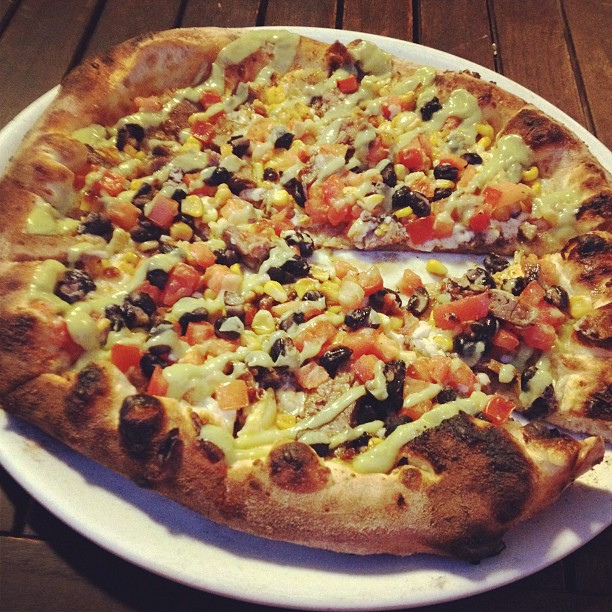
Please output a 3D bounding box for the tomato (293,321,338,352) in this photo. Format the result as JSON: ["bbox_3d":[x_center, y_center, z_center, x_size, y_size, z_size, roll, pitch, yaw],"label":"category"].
[{"bbox_3d":[0.054,0.186,4.722,0.319,0.101,0.132,-28,72,-11],"label":"tomato"}]

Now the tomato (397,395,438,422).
[{"bbox_3d":[0.710,0.638,4.513,0.309,0.089,0.103,-20,72,-8],"label":"tomato"}]

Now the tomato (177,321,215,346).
[{"bbox_3d":[-0.707,0.169,4.712,0.177,0.063,0.197,28,71,11],"label":"tomato"}]

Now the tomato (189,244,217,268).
[{"bbox_3d":[-0.710,-0.347,4.967,0.153,0.043,0.179,-24,54,-33],"label":"tomato"}]

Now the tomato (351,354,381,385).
[{"bbox_3d":[0.379,0.389,4.611,0.199,0.048,0.178,-37,69,-17],"label":"tomato"}]

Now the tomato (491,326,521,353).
[{"bbox_3d":[1.335,0.217,4.825,0.184,0.100,0.138,32,74,12],"label":"tomato"}]

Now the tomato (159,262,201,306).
[{"bbox_3d":[-0.859,-0.146,4.839,0.206,0.172,0.303,40,94,-9],"label":"tomato"}]

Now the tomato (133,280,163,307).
[{"bbox_3d":[-1.039,-0.087,4.848,0.207,0.061,0.168,-27,85,-34],"label":"tomato"}]

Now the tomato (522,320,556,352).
[{"bbox_3d":[1.538,0.191,4.796,0.260,0.122,0.187,-14,84,7],"label":"tomato"}]
